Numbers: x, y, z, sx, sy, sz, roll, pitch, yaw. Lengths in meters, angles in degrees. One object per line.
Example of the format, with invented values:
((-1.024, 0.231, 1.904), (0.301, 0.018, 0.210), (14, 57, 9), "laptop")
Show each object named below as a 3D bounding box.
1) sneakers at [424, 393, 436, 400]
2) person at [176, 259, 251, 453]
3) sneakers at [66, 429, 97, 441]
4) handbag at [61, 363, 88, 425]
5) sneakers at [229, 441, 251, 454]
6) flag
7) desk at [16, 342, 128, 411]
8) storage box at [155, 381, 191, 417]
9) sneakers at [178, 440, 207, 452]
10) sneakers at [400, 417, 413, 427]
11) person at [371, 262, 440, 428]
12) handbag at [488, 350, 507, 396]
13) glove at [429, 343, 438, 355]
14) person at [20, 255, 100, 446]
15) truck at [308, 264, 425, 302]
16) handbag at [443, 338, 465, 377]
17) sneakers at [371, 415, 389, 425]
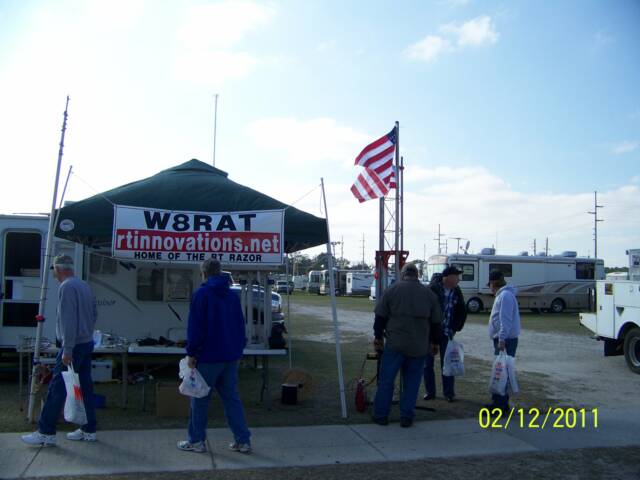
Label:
((1.838, 2.646, 10.588), (0.220, 0.164, 0.074), (9, -12, -23), "sneakers")
((-1.317, 1.481, 8.021), (0.856, 2.460, 0.340), (0, 0, -16), "person")
((-3.113, 2.576, 8.308), (0.381, 0.181, 0.158), (10, -13, -2), "sneakers")
((-3.141, 2.026, 8.059), (0.299, 0.818, 0.305), (0, 0, -22), "handbag")
((-1.006, 2.652, 8.086), (0.288, 0.151, 0.118), (8, 1, 20), "sneakers")
((1.559, -2.071, 17.152), (1.121, 2.011, 0.903), (0, 0, 6), "flag")
((-4.062, 2.100, 10.243), (1.376, 0.943, 1.482), (-1, -8, 3), "desk")
((-2.228, 2.401, 9.507), (0.555, 0.443, 0.448), (1, -2, -4), "storage box")
((-1.632, 2.651, 8.110), (0.337, 0.172, 0.149), (11, -3, 4), "sneakers")
((1.259, 2.633, 9.106), (0.189, 0.126, 0.214), (0, 0, 3), "sneakers")
((1.276, 1.528, 9.228), (0.966, 2.327, 0.500), (0, 0, 4), "person")
((2.680, 2.005, 9.404), (0.250, 0.654, 0.205), (0, 0, 15), "handbag")
((1.760, 1.679, 9.621), (0.123, 0.182, 0.064), (0, 7, 13), "glove")
((-3.300, 1.420, 8.181), (0.778, 2.440, 0.526), (0, 0, -22), "person")
((3.673, 4.268, 51.022), (8.782, 2.803, 3.219), (0, -2, 38), "truck")
((2.144, 1.937, 10.147), (0.312, 0.630, 0.409), (0, 0, 11), "handbag")
((0.887, 2.632, 9.196), (0.090, 0.172, 0.235), (-1, 9, -30), "sneakers")
